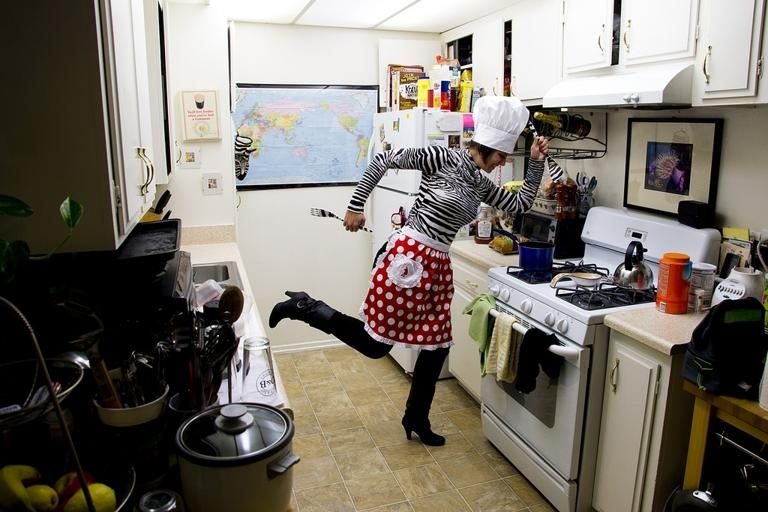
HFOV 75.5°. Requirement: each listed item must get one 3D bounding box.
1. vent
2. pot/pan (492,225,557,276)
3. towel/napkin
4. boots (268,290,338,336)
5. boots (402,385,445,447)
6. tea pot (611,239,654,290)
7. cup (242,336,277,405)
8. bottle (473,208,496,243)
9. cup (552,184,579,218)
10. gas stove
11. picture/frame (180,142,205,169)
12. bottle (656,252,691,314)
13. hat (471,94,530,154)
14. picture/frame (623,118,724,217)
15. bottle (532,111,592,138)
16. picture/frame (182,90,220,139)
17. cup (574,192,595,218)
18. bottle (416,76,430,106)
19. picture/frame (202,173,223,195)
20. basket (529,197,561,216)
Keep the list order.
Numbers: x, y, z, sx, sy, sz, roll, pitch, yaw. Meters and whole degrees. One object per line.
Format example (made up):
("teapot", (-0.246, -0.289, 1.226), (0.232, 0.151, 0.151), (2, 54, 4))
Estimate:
("vent", (1.208, -0.891, 2.617), (0.193, 0.198, 0.761), (-9, 18, -26))
("pot/pan", (0.839, -0.017, 3.015), (0.145, 0.141, 0.365), (-11, 19, -25))
("towel/napkin", (0.705, 0.463, 2.698), (0.236, 0.386, 0.658), (0, 16, -25))
("boots", (-0.492, 0.358, 3.135), (0.378, 0.260, 0.128), (28, 4, 18))
("boots", (0.258, 0.975, 3.127), (0.266, 0.407, 0.132), (3, 15, 11))
("tea pot", (1.297, 0.035, 2.549), (0.223, 0.259, 0.139), (-11, 18, -31))
("cup", (-0.428, 0.389, 1.689), (0.131, 0.195, 0.131), (-1, 7, 0))
("bottle", (0.716, -0.253, 3.534), (0.164, 0.290, 0.174), (-5, 36, 4))
("cup", (1.162, -0.364, 3.200), (0.191, 0.263, 0.183), (-3, 5, 0))
("gas stove", (1.084, 0.282, 2.786), (0.638, 0.349, 0.976), (-1, 12, -11))
("picture/frame", (-1.306, -0.690, 3.360), (0.180, 0.212, 0.022), (1, -1, -20))
("bottle", (1.371, 0.131, 2.340), (0.139, 0.269, 0.107), (7, 17, 27))
("hat", (0.672, -0.777, 2.859), (0.323, 0.315, 0.358), (13, 6, 22))
("picture/frame", (1.610, -0.492, 2.730), (0.041, 0.495, 0.512), (-8, 17, -30))
("bottle", (1.171, -0.859, 3.246), (0.332, 0.178, 0.285), (6, 18, 24))
("picture/frame", (-1.234, -0.960, 3.312), (0.288, 0.399, 0.056), (-5, 13, -19))
("cup", (1.263, -0.324, 3.219), (0.153, 0.153, 0.132), (1, 7, 0))
("bottle", (0.293, -1.190, 3.599), (0.087, 0.209, 0.238), (0, 16, 3))
("picture/frame", (-1.191, -0.505, 3.419), (0.139, 0.129, 0.011), (-8, 19, -18))
("basket", (1.038, -0.321, 3.220), (0.097, 0.055, 0.157), (0, 19, -10))
